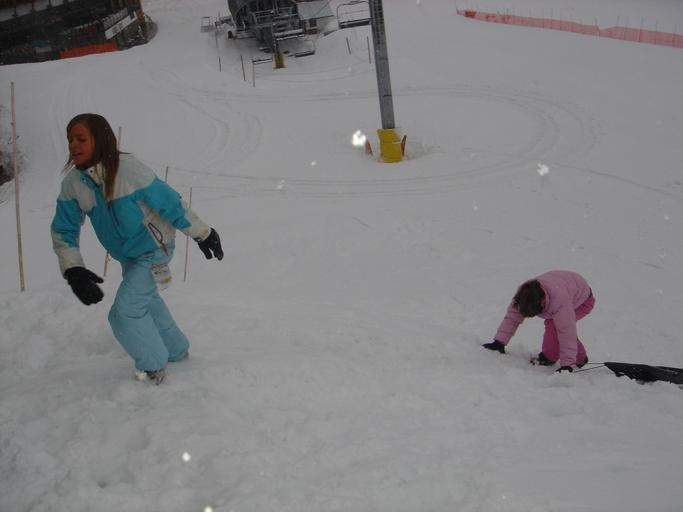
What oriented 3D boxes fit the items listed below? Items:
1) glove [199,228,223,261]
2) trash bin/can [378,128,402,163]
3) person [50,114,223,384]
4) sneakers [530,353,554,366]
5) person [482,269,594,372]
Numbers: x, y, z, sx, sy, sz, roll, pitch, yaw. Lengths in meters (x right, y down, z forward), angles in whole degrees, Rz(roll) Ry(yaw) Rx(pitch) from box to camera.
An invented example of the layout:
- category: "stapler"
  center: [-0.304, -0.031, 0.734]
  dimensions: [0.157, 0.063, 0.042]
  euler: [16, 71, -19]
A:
- category: "glove"
  center: [-1.315, -0.091, 6.501]
  dimensions: [0.212, 0.357, 0.098]
  euler: [-34, 27, -15]
- category: "trash bin/can"
  center: [1.060, -2.367, 13.455]
  dimensions: [0.517, 0.750, 0.496]
  euler: [8, 31, 23]
- category: "person"
  center: [-2.166, -0.012, 6.432]
  dimensions: [1.526, 2.662, 1.160]
  euler: [12, 37, 28]
- category: "sneakers"
  center: [2.385, 1.222, 7.551]
  dimensions: [0.190, 0.082, 0.153]
  euler: [1, 4, 14]
- category: "person"
  center: [2.298, 0.801, 7.256]
  dimensions: [1.214, 1.290, 0.812]
  euler: [-2, 33, 8]
